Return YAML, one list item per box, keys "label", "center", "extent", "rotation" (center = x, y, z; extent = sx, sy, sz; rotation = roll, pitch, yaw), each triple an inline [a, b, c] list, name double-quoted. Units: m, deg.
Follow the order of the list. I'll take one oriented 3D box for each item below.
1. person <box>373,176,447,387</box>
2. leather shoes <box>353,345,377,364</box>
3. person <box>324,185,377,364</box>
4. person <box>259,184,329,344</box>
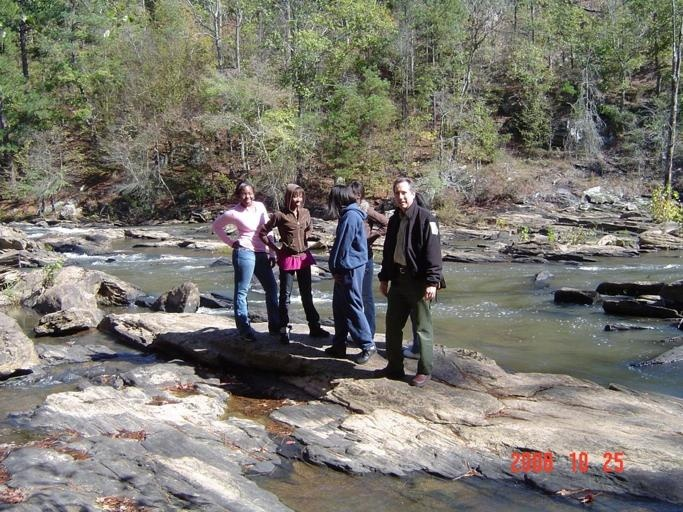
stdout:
- label: "person"
  center: [0.882, 0.306, 6.868]
  extent: [0.688, 2.561, 0.822]
  rotation: [-1, 12, -10]
- label: "leather shoes"
  center: [0.347, 1.308, 7.400]
  extent: [0.387, 0.143, 0.155]
  rotation: [-23, 28, -39]
- label: "person"
  center: [0.122, 0.237, 7.355]
  extent: [0.605, 2.348, 0.696]
  rotation: [-1, 12, -10]
- label: "person"
  center: [-0.693, 0.100, 8.030]
  extent: [0.976, 2.305, 0.756]
  rotation: [1, 12, -3]
